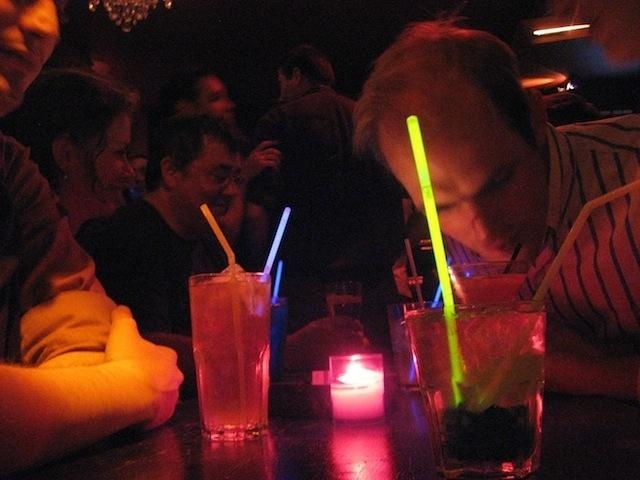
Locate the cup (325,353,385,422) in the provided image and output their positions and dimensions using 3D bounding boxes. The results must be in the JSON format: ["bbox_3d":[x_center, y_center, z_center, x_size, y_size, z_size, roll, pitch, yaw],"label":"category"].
[{"bbox_3d":[0.102,0.394,1.583,0.179,0.174,0.167,-1,-10,0],"label":"cup"}]

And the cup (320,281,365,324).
[{"bbox_3d":[0.093,0.234,2.279,0.131,0.145,0.129,-2,-10,0],"label":"cup"}]
